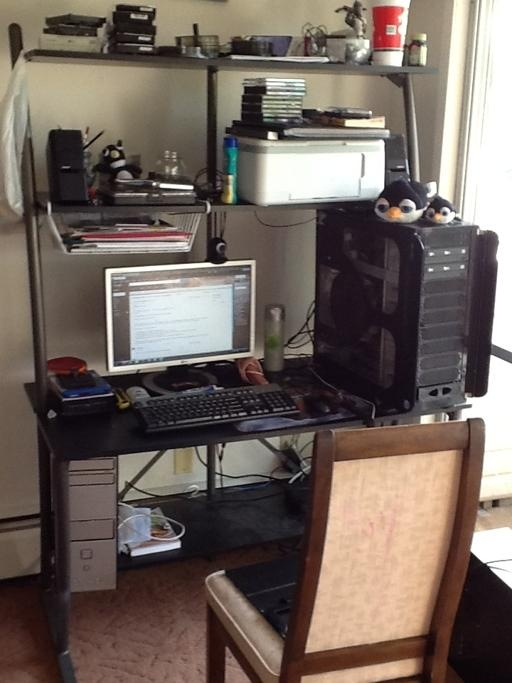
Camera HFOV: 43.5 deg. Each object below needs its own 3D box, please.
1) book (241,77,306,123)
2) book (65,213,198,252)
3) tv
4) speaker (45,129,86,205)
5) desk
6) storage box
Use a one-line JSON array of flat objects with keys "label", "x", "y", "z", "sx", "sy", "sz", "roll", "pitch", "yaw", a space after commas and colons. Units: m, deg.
[{"label": "book", "x": 0.047, "y": -0.725, "z": 1.943, "sx": 0.191, "sy": 0.147, "sz": 0.228, "roll": 2, "pitch": 11, "yaw": 0}, {"label": "book", "x": -0.389, "y": -0.336, "z": 2.014, "sx": 0.424, "sy": 0.140, "sz": 0.391, "roll": -1, "pitch": 12, "yaw": -15}, {"label": "tv", "x": -0.243, "y": -0.047, "z": 2.041, "sx": 0.456, "sy": 0.284, "sz": 0.046, "roll": -7, "pitch": 17, "yaw": -19}, {"label": "speaker", "x": -0.511, "y": -0.470, "z": 1.732, "sx": 0.095, "sy": 0.198, "sz": 0.114, "roll": -1, "pitch": 12, "yaw": -16}, {"label": "desk", "x": -0.234, "y": 0.354, "z": 1.998, "sx": 1.235, "sy": 0.747, "sz": 0.806, "roll": -2, "pitch": 10, "yaw": -18}, {"label": "storage box", "x": 0.189, "y": -0.516, "z": 1.965, "sx": 0.433, "sy": 0.215, "sz": 0.097, "roll": -3, "pitch": 13, "yaw": -24}]
